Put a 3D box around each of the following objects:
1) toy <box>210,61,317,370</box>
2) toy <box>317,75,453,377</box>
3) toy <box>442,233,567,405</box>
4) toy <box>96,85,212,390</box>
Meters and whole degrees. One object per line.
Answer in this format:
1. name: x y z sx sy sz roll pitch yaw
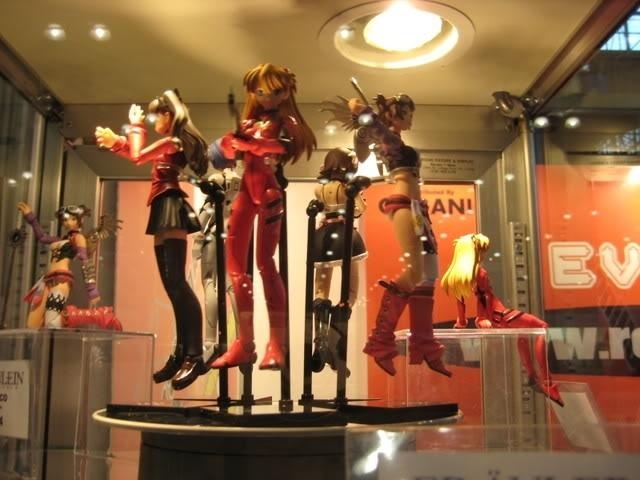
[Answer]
1. toy: -0.205 -0.089 2.344 0.398 1.171 0.370 2 -15 -9
2. toy: 0.280 -0.067 2.477 0.483 1.316 1.158 -4 -6 21
3. toy: 0.833 0.392 2.761 0.401 0.752 0.625 -15 -20 42
4. toy: -0.660 0.052 2.486 0.473 1.126 0.609 -5 -16 14
